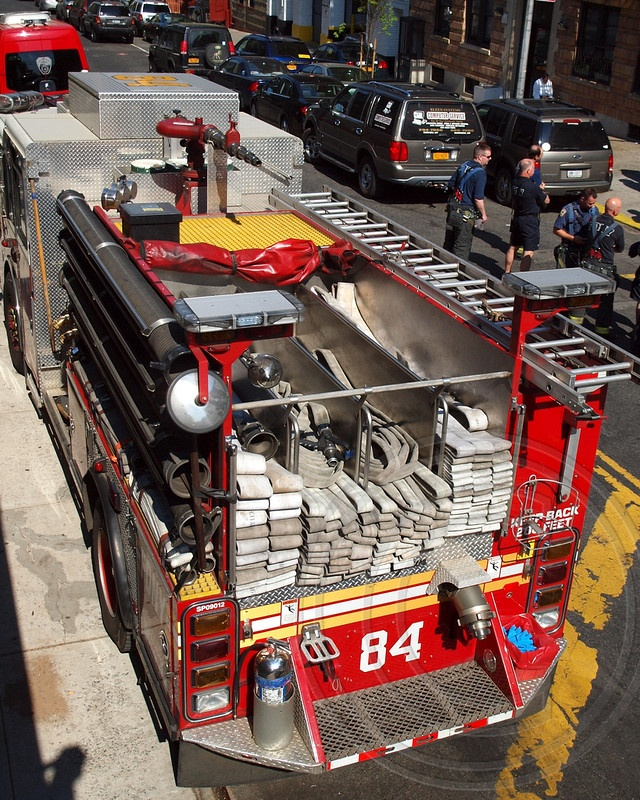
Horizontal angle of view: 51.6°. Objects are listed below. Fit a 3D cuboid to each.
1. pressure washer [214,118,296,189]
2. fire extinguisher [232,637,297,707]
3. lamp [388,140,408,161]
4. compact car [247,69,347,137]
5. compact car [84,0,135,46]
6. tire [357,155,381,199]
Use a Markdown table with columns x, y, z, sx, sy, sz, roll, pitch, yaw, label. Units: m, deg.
| x | y | z | sx | sy | sz | roll | pitch | yaw | label |
| --- | --- | --- | --- | --- | --- | --- | --- | --- | --- |
| -0.647 | -2.372 | 6.432 | 0.727 | 0.481 | 1.009 | -5 | 34 | -27 | pressure washer |
| -0.193 | 1.086 | 2.586 | 0.211 | 0.225 | 0.267 | 4 | 8 | -23 | fire extinguisher |
| 1.678 | -5.357 | 14.232 | 0.424 | 0.370 | 0.698 | 2 | 14 | -9 | lamp |
| -0.803 | -8.706 | 18.880 | 1.845 | 1.386 | 3.870 | -13 | 40 | -22 | compact car |
| -11.427 | -20.597 | 35.922 | 2.632 | 2.061 | 1.899 | 6 | 8 | -11 | compact car |
| 1.146 | -5.173 | 15.247 | 0.289 | 0.773 | 0.776 | -2 | 45 | -14 | tire |
